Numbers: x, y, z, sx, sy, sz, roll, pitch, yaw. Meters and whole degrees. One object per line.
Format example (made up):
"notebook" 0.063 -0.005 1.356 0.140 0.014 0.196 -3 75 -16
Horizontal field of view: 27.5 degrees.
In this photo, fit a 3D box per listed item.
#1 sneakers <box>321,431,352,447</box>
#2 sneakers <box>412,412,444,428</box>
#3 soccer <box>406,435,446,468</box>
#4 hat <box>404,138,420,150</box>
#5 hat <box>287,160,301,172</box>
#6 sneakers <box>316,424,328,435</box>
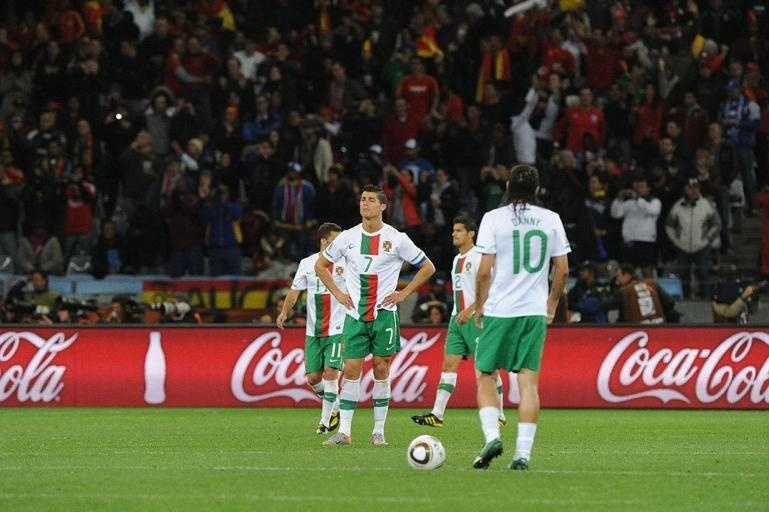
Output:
"sneakers" -0.800 3.139 26.732 0.533 0.228 0.197 3 -6 -6
"sneakers" 0.789 2.899 27.572 0.600 0.265 0.215 10 6 -14
"soccer" 0.677 3.219 25.381 0.667 0.688 0.691 1 -9 17
"hat" 0.606 -2.481 34.622 0.294 0.294 0.408 0 -4 -2
"hat" -1.962 -1.956 34.562 0.308 0.293 0.318 -1 -4 6
"sneakers" -1.082 3.058 27.603 0.190 0.177 0.139 -2 4 -2
